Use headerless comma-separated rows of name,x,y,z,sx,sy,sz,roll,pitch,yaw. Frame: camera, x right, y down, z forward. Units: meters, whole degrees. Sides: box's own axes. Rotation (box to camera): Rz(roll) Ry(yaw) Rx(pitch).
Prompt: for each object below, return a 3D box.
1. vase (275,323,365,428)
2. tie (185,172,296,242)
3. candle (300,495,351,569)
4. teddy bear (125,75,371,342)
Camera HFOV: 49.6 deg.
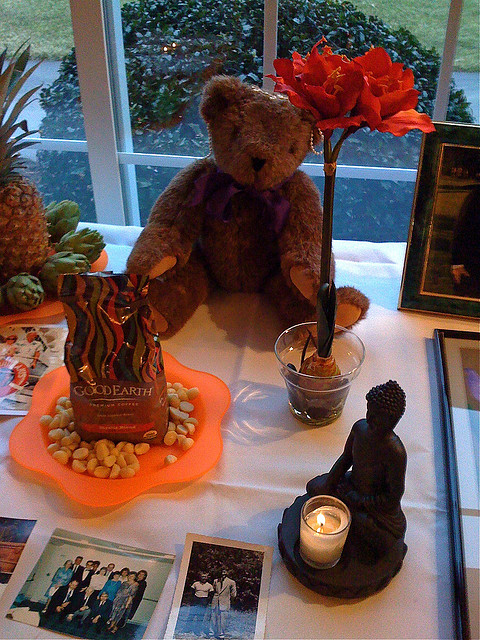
vase,0.102,0.065,0.774,0.146,0.168,0.143,8,42,9
tie,0.005,-0.205,0.892,0.123,0.034,0.124,20,41,25
candle,0.081,0.203,0.502,0.044,0.066,0.048,5,36,9
teddy bear,-0.024,-0.184,0.877,0.323,0.394,0.256,3,36,6
